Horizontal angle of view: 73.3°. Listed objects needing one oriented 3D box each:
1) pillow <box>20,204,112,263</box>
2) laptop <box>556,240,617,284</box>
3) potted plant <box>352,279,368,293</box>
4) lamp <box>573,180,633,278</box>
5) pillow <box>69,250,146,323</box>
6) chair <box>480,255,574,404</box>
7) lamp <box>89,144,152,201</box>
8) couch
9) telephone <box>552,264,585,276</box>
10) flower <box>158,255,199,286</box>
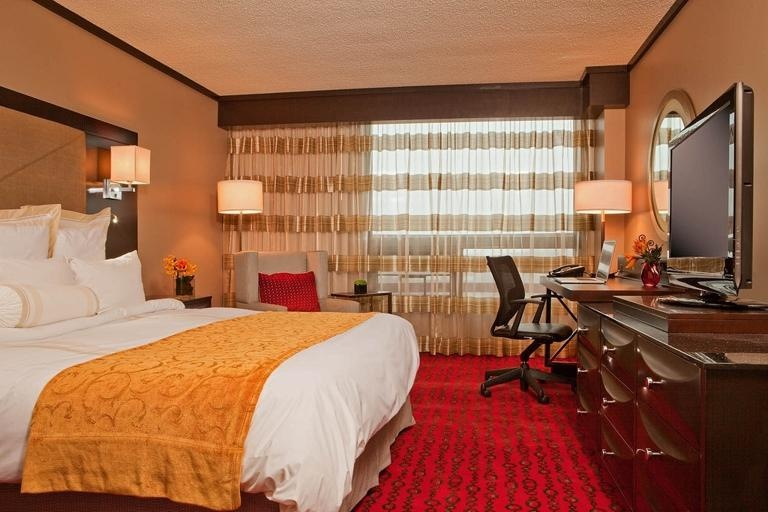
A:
[{"bbox_3d":[-2.428,-0.157,4.124,0.149,0.481,0.447,-3,-4,33],"label":"pillow"},{"bbox_3d":[1.869,0.109,4.803,0.456,0.383,0.543,-1,-2,9],"label":"laptop"},{"bbox_3d":[-0.285,0.376,6.323,0.153,0.157,0.161,0,1,37],"label":"potted plant"},{"bbox_3d":[2.403,-0.394,5.754,0.702,1.102,0.704,0,0,24],"label":"lamp"},{"bbox_3d":[-2.090,0.246,3.870,0.177,0.400,0.516,-17,-6,23],"label":"pillow"},{"bbox_3d":[1.330,0.696,5.565,1.243,1.746,1.259,-2,-2,22],"label":"chair"},{"bbox_3d":[-2.400,-0.784,4.788,0.664,0.613,0.343,0,-1,10],"label":"lamp"},{"bbox_3d":[-1.144,0.197,5.970,0.945,0.934,0.949,3,-9,-28],"label":"couch"},{"bbox_3d":[1.876,0.158,5.238,0.211,0.085,0.238,2,-3,8],"label":"telephone"},{"bbox_3d":[-2.169,0.112,5.467,0.366,0.241,0.337,4,8,-24],"label":"flower"}]
